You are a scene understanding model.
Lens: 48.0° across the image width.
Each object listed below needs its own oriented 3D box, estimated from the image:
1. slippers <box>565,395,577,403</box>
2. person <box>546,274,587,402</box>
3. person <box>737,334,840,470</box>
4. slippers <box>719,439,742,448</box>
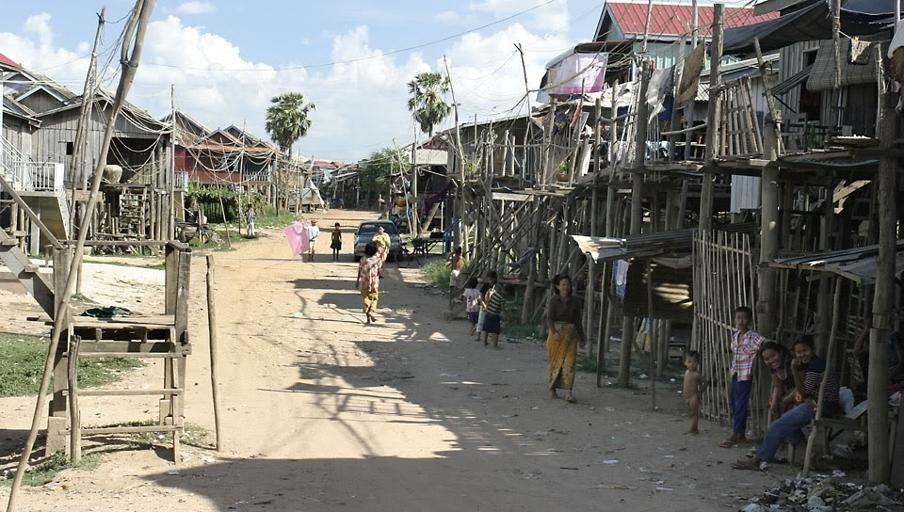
[{"bbox_3d":[2.461,2.941,20.976,0.232,0.119,0.198,1,12,-2],"label":"slippers"},{"bbox_3d":[2.334,1.734,21.113,0.726,2.530,0.981,3,13,6],"label":"person"},{"bbox_3d":[5.968,2.578,17.759,1.478,2.249,1.105,5,13,18],"label":"person"},{"bbox_3d":[5.079,3.442,18.569,0.292,0.095,0.153,1,1,-5],"label":"slippers"}]
